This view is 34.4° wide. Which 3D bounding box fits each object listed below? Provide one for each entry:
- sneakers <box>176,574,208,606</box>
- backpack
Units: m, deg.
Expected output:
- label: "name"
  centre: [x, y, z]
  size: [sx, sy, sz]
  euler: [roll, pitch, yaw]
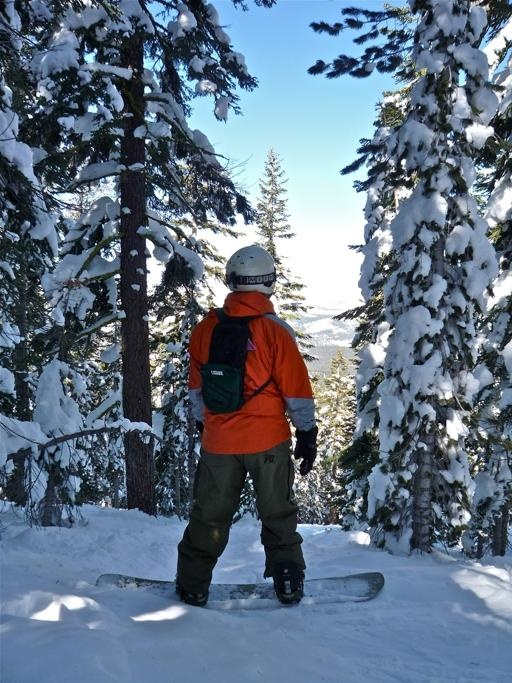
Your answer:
- label: "sneakers"
  centre: [-0.608, 2.295, 7.667]
  size: [0.342, 0.217, 0.261]
  euler: [10, 10, 5]
- label: "backpack"
  centre: [-0.247, 0.189, 7.713]
  size: [0.447, 0.891, 0.390]
  euler: [13, 11, 10]
